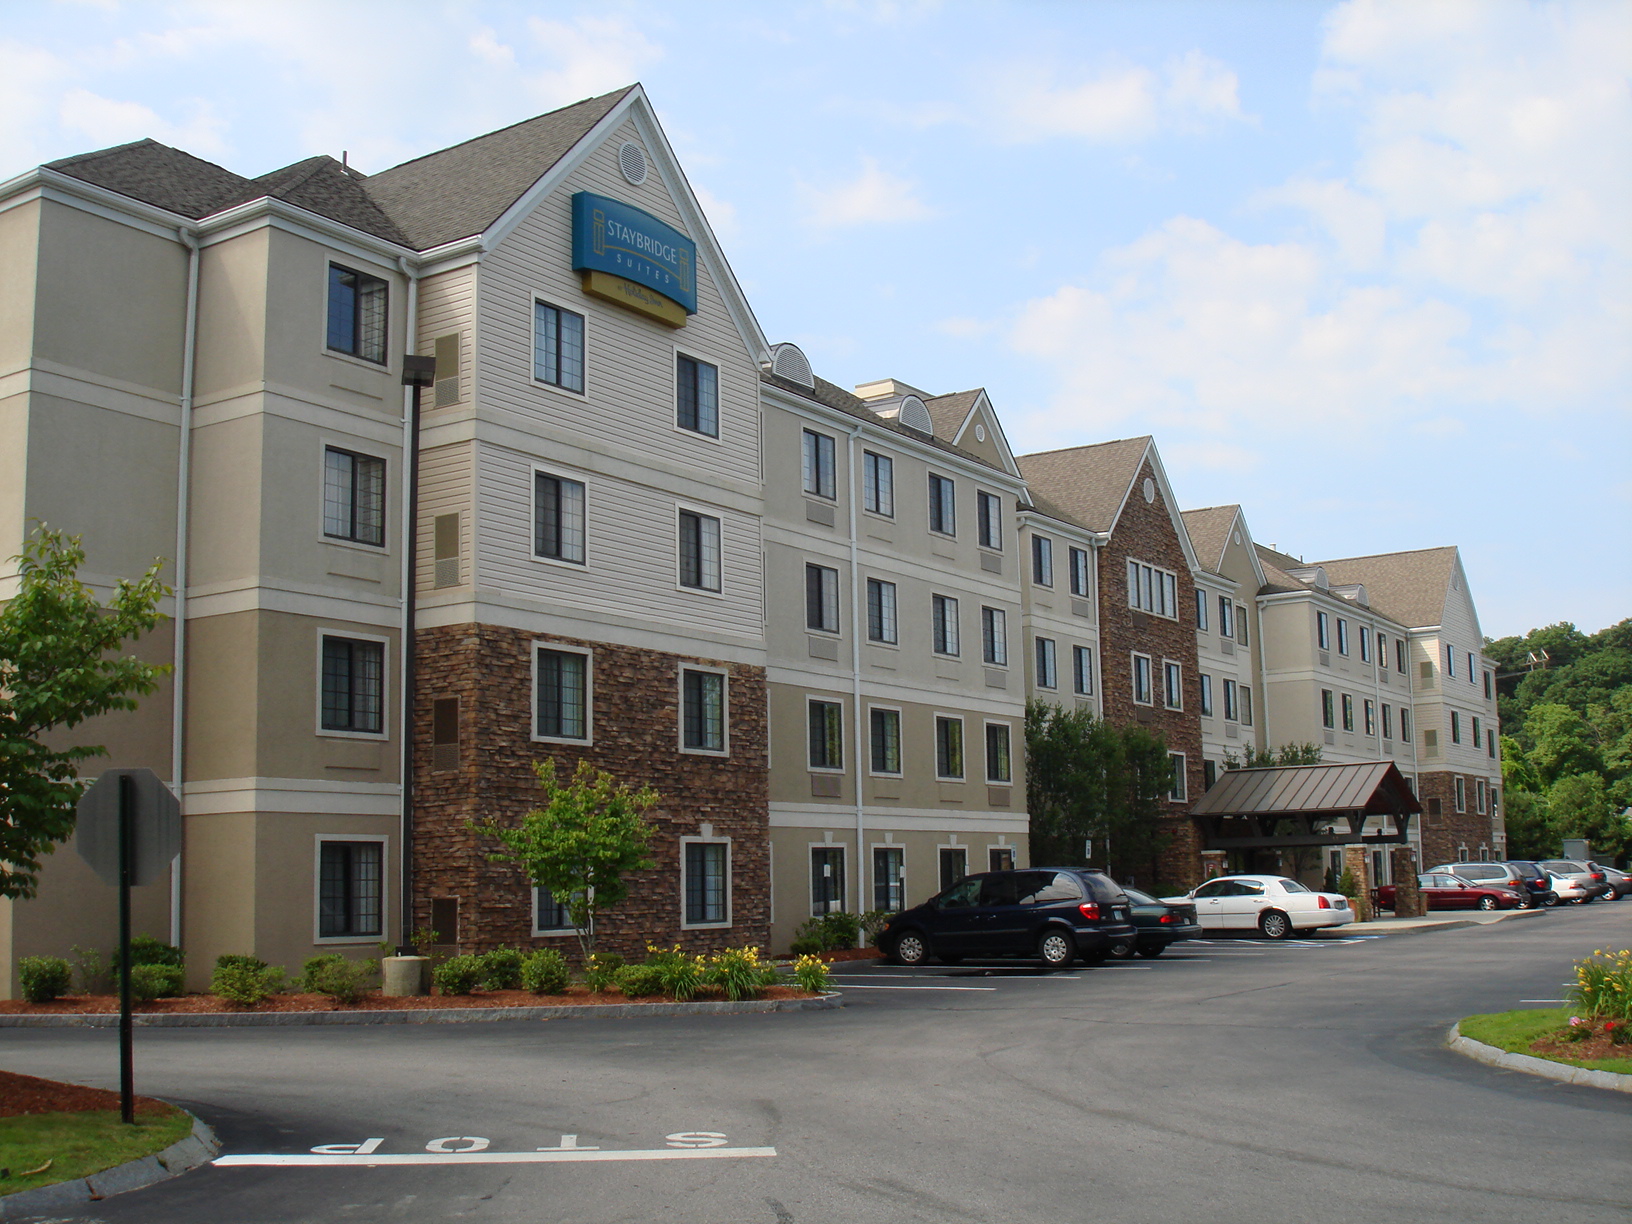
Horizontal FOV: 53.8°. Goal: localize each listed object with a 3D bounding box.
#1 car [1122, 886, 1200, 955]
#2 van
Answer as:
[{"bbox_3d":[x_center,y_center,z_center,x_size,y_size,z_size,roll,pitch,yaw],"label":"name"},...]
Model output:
[{"bbox_3d":[7.131,6.487,33.808,1.145,0.883,2.579,2,-6,-34],"label":"car"},{"bbox_3d":[4.008,6.212,33.018,4.060,1.630,2.114,-3,-12,26],"label":"van"}]
